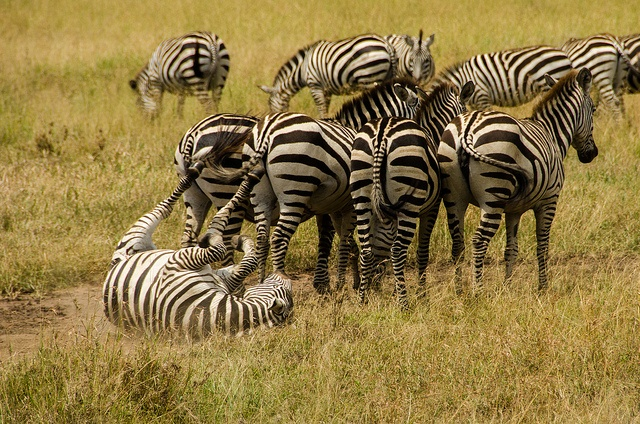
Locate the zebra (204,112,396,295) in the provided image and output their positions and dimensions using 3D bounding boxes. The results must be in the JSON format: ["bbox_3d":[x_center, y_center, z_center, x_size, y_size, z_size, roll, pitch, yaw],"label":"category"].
[{"bbox_3d":[-0.070,-0.375,13.848,0.974,2.940,4.512,6,-2,28],"label":"zebra"}]

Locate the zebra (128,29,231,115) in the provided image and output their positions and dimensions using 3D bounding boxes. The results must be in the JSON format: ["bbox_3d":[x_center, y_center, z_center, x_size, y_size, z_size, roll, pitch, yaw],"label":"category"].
[{"bbox_3d":[-3.276,-2.863,19.282,2.739,1.757,1.037,-2,-1,37],"label":"zebra"}]

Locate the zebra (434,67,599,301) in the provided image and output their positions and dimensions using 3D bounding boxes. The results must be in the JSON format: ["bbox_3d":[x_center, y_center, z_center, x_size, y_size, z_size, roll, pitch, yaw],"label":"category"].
[{"bbox_3d":[3.427,-0.467,13.735,1.507,3.408,4.379,6,6,40],"label":"zebra"}]

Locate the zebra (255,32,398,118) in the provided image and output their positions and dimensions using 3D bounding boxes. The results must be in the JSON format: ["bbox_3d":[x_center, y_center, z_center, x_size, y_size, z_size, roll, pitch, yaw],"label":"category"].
[{"bbox_3d":[0.215,-2.723,18.519,2.787,1.761,0.993,-8,12,17],"label":"zebra"}]

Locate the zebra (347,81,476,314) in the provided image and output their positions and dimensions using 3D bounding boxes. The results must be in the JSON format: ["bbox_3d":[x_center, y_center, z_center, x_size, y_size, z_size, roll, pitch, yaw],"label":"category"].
[{"bbox_3d":[1.120,-0.041,13.041,1.358,2.741,0.807,-2,10,-7],"label":"zebra"}]
